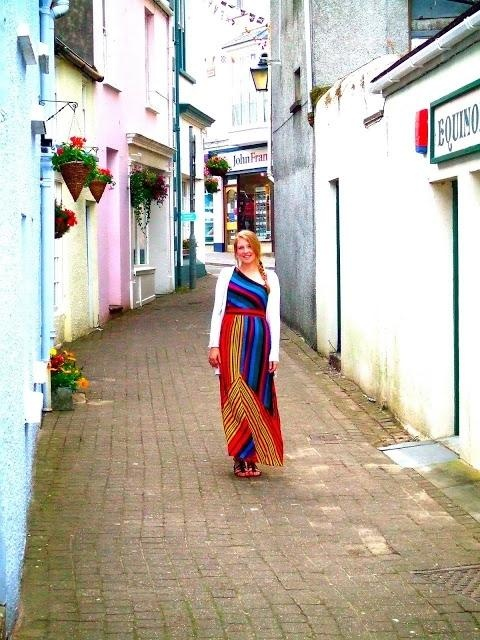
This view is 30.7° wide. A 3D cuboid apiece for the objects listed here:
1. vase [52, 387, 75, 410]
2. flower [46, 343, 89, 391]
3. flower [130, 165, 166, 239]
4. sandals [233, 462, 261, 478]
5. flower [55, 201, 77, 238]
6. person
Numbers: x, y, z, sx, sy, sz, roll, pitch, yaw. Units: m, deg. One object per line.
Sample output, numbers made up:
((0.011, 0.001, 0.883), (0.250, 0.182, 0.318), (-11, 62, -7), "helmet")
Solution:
((-1.758, 0.754, 8.552), (0.170, 0.207, 0.190), (0, 5, -10), "vase")
((-1.752, 0.528, 8.771), (0.458, 0.447, 0.562), (12, 3, -1), "flower")
((-1.981, -2.514, 18.114), (0.917, 1.733, 1.401), (1, 1, 4), "flower")
((0.039, 1.105, 6.452), (0.077, 0.119, 0.252), (1, -8, -10), "sandals")
((-2.089, -1.167, 10.209), (0.321, 0.408, 0.356), (-5, 9, -25), "flower")
((0.041, 0.190, 6.273), (0.542, 1.635, 0.336), (1, 5, 3), "person")
